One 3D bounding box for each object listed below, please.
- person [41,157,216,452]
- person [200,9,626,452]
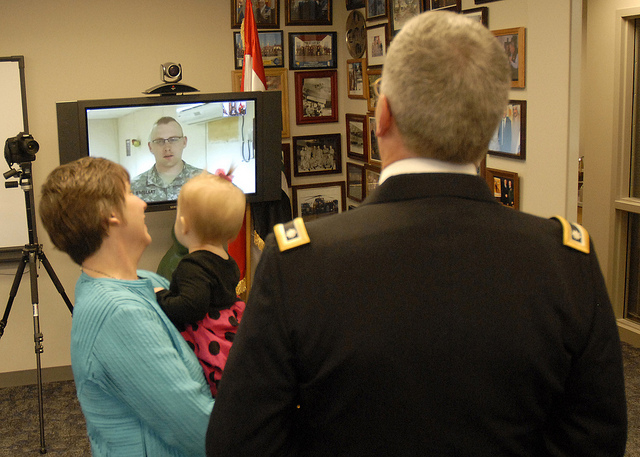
[{"bbox_3d":[-0.579,0.231,1.671,0.515,0.879,0.196,2,-13,-15],"label":"person"},{"bbox_3d":[0.211,0.029,1.320,0.957,0.979,0.382,-4,-13,11],"label":"person"}]
